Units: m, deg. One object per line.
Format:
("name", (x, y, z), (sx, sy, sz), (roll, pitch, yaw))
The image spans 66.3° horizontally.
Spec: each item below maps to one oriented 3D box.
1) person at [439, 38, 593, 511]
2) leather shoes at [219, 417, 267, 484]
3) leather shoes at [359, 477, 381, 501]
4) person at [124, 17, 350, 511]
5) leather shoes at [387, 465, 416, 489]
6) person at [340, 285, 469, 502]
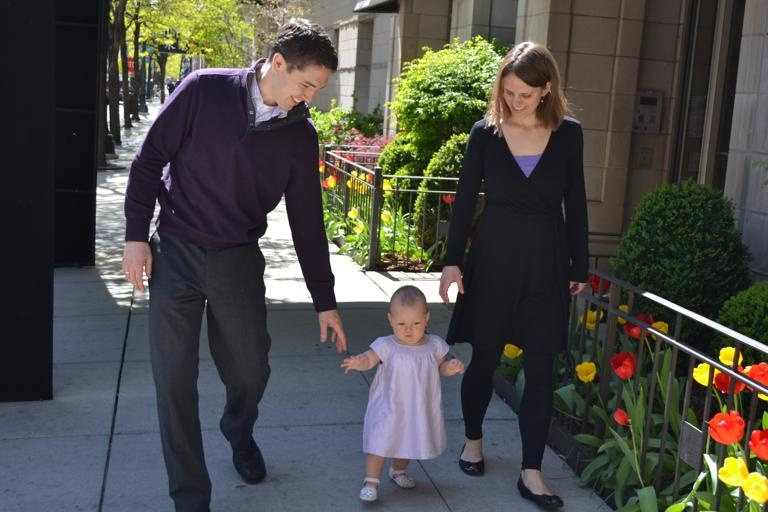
("person", (0.825, 0.103, 3.688), (0.819, 2.734, 0.512), (6, 12, 31))
("leather shoes", (-0.866, 1.263, 3.773), (0.176, 0.561, 0.214), (-25, 0, -24))
("leather shoes", (-0.093, 1.401, 3.567), (0.066, 0.086, 0.206), (1, -6, 2))
("person", (-0.852, 0.084, 3.336), (1.151, 2.726, 0.700), (-5, 12, -25))
("leather shoes", (0.126, 1.385, 3.724), (0.089, 0.072, 0.167), (-10, 18, -32))
("person", (0.118, 0.812, 3.603), (0.701, 1.288, 0.339), (-1, 11, -5))
